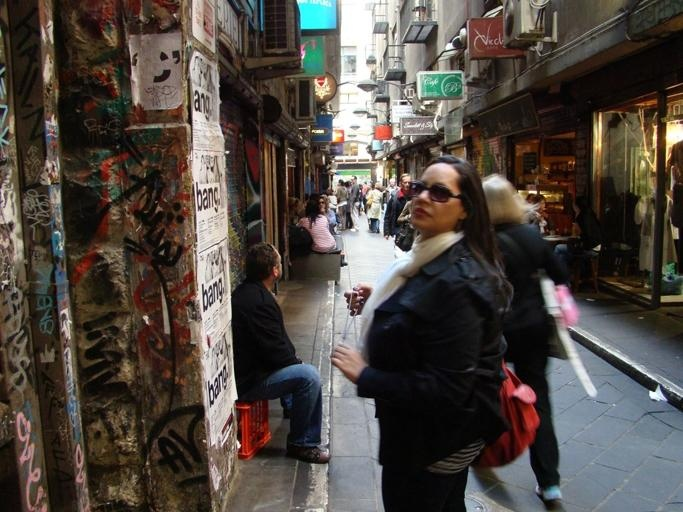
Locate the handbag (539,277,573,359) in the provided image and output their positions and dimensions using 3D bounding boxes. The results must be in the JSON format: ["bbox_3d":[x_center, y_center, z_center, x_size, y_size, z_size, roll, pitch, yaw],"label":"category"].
[{"bbox_3d":[1.449,0.419,3.544,0.218,0.549,0.157,6,9,38],"label":"handbag"}]

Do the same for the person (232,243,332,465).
[{"bbox_3d":[-0.514,0.773,4.401,0.825,1.702,0.865,1,1,-4],"label":"person"}]

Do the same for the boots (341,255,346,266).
[{"bbox_3d":[0.010,0.132,12.708,0.111,0.273,0.248,0,-2,-12],"label":"boots"}]

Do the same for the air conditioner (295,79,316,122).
[{"bbox_3d":[-0.974,-4.032,13.442,0.451,1.078,0.388,0,7,-6],"label":"air conditioner"}]

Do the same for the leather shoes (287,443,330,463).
[{"bbox_3d":[-0.269,1.538,4.170,0.325,0.168,0.129,2,7,10],"label":"leather shoes"}]

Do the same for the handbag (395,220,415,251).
[{"bbox_3d":[1.000,-0.314,8.595,0.428,0.391,1.078,8,10,3],"label":"handbag"}]
